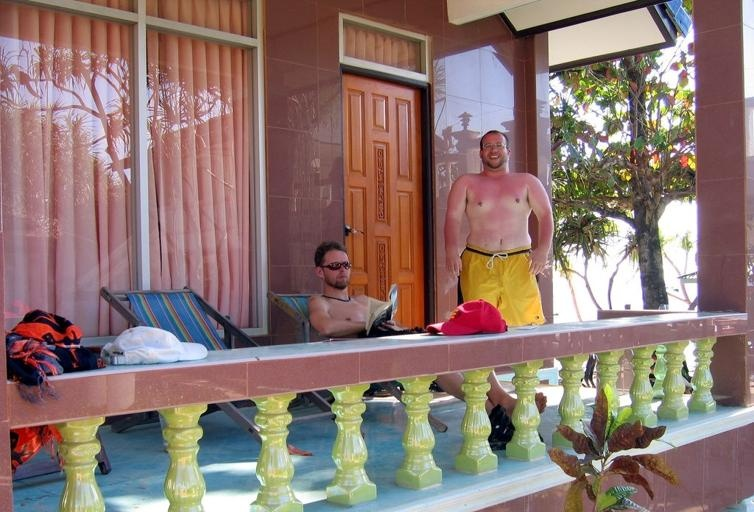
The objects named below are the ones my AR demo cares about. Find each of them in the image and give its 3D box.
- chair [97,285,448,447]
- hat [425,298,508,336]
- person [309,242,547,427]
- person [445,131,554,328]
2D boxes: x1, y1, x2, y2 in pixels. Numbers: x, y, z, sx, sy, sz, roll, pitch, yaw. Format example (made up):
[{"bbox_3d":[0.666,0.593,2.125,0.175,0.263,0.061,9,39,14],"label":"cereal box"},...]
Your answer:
[{"bbox_3d":[-1.191,0.753,5.090,2.197,0.711,1.211,17,15,40],"label":"chair"},{"bbox_3d":[0.498,0.331,3.541,0.316,0.132,0.205,0,-4,-19],"label":"hat"},{"bbox_3d":[0.390,0.455,5.169,2.031,1.196,0.916,15,8,39],"label":"person"},{"bbox_3d":[0.938,-0.216,4.964,0.832,1.408,0.672,8,11,5],"label":"person"}]
